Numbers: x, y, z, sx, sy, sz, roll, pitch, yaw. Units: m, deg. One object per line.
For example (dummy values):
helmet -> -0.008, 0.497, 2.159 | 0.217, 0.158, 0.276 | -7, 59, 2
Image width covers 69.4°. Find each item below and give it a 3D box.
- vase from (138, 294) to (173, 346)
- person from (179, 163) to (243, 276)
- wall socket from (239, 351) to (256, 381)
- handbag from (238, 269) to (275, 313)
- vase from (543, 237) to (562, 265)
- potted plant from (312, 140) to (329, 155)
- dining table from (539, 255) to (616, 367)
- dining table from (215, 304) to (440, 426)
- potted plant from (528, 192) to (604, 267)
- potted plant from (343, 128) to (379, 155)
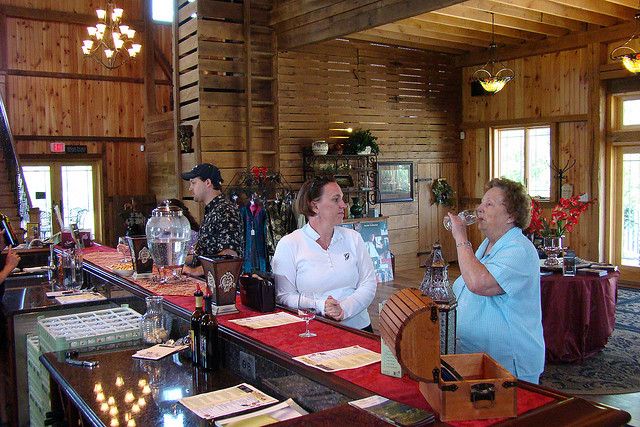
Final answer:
vase -> -1.066, 0.689, 2.982 | 0.205, 0.283, 0.197 | 0, 0, 23
person -> -0.985, -0.040, 4.238 | 0.560, 0.823, 0.335 | -1, 6, 35
wall socket -> -0.381, 0.809, 2.449 | 0.017, 0.161, 0.165 | -2, 0, -38
handbag -> -0.426, 0.508, 3.057 | 0.193, 0.215, 0.320 | -4, 9, -33
vase -> 2.775, 0.434, 5.526 | 0.277, 0.364, 0.261 | 0, 2, 39
potted plant -> 0.018, -1.128, 7.972 | 0.287, 0.229, 0.105 | -7, 6, -29
dining table -> 2.819, 1.071, 5.492 | 0.993, 0.929, 0.959 | -9, 13, -22
dining table -> 0.027, 0.691, 2.379 | 0.618, 0.324, 1.389 | -8, 5, -43
potted plant -> 2.742, 0.229, 5.421 | 0.513, 0.773, 0.685 | 3, 2, -7
potted plant -> 0.753, -1.322, 8.524 | 0.560, 0.387, 0.472 | -2, 9, -2
